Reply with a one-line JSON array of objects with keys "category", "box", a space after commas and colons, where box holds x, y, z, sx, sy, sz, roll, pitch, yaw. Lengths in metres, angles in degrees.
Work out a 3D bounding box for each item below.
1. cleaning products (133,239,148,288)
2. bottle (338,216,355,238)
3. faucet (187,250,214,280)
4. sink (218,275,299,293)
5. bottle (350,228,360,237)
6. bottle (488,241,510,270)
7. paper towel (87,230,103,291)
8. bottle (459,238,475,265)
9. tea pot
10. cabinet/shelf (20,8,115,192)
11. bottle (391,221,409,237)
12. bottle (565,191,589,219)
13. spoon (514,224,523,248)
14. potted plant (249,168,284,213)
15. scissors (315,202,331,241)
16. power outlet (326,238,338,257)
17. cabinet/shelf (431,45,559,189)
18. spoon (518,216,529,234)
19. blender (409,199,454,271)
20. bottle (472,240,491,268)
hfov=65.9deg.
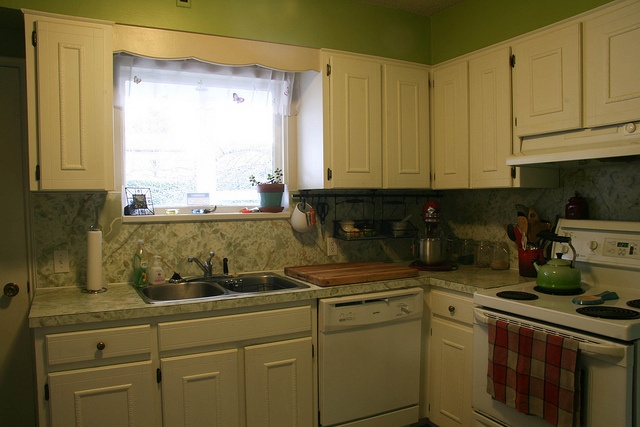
[{"category": "cleaning products", "box": [-1.239, 0.343, 3.405, 0.109, 0.304, 0.175, -4, 6, -21]}, {"category": "bottle", "box": [0.222, 0.117, 3.920, 0.129, 0.171, 0.127, -1, -2, 0]}, {"category": "faucet", "box": [-0.859, 0.375, 3.578, 0.192, 0.173, 0.118, -3, 6, -12]}, {"category": "sink", "box": [-0.469, 0.516, 3.584, 0.297, 0.105, 0.239, 1, 3, -33]}, {"category": "bottle", "box": [0.274, 0.155, 3.923, 0.062, 0.028, 0.071, -6, 36, -8]}, {"category": "bottle", "box": [1.418, 0.356, 3.882, 0.138, 0.232, 0.131, 8, -25, 4]}, {"category": "paper towel", "box": [-1.477, 0.315, 3.235, 0.102, 0.394, 0.042, -4, 6, -22]}, {"category": "bottle", "box": [1.215, 0.314, 4.085, 0.117, 0.183, 0.208, 0, 6, 18]}, {"category": "tea pot", "box": [1.570, 0.329, 3.277, 0.247, 0.367, 0.333, -8, 9, -25]}, {"category": "cabinet/shelf", "box": [-1.547, -0.692, 3.136, 0.529, 1.133, 0.150, -1, -1, -9]}, {"category": "bottle", "box": [0.666, 0.126, 4.097, 0.173, 0.129, 0.140, -3, 6, -13]}, {"category": "bottle", "box": [1.799, -0.057, 3.467, 0.142, 0.190, 0.104, 4, 8, 42]}, {"category": "spoon", "box": [1.452, 0.167, 3.637, 0.023, 0.158, 0.040, 14, -41, -9]}, {"category": "potted plant", "box": [-0.378, -0.182, 3.950, 0.346, 0.444, 0.309, -1, 0, -3]}, {"category": "scissors", "box": [0.024, 0.058, 3.966, 0.120, 0.292, 0.039, -5, 7, -28]}, {"category": "power outlet", "box": [0.096, 0.270, 3.987, 0.094, 0.151, 0.024, -5, 7, -30]}, {"category": "cabinet/shelf", "box": [1.295, -0.691, 3.569, 0.444, 1.261, 1.076, 2, -4, -25]}, {"category": "spoon", "box": [1.455, 0.085, 3.560, 0.032, 0.120, 0.049, 7, -12, -44]}, {"category": "blender", "box": [0.909, 0.165, 3.942, 0.349, 0.527, 0.556, 0, 6, 15]}, {"category": "bottle", "box": [1.327, 0.335, 3.932, 0.149, 0.204, 0.152, 4, -12, 1]}]
